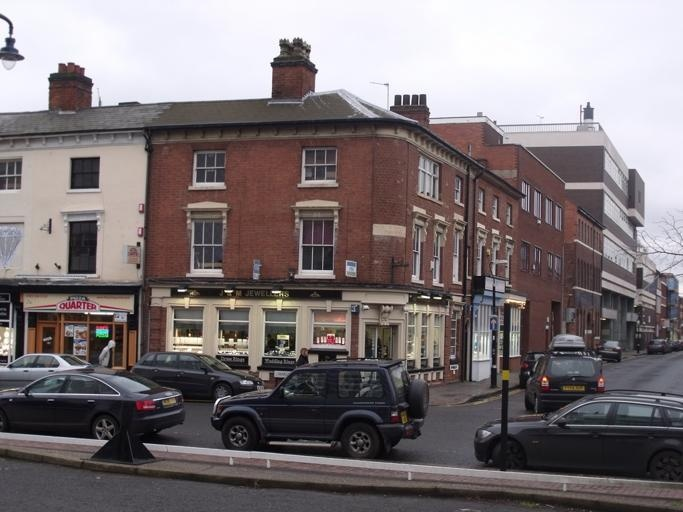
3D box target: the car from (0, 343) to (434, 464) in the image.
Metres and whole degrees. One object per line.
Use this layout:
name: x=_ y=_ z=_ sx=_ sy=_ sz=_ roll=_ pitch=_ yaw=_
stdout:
car: x=-1.678 y=4.176 z=28.170 sx=8.520 sy=2.063 sz=2.322 roll=-1 pitch=-1 yaw=14
